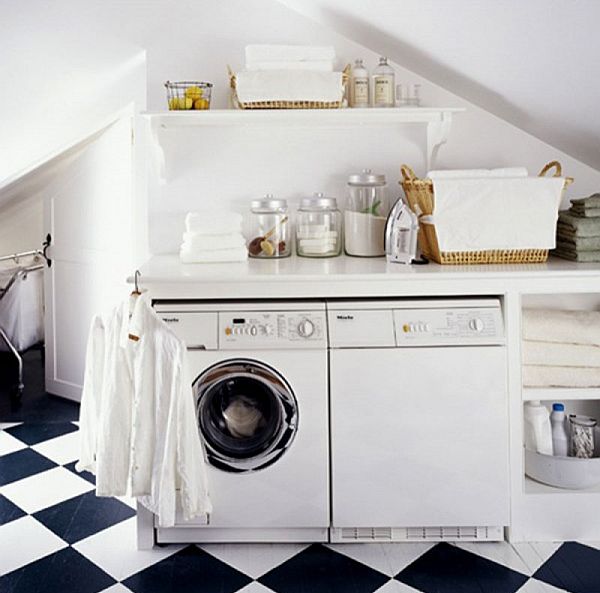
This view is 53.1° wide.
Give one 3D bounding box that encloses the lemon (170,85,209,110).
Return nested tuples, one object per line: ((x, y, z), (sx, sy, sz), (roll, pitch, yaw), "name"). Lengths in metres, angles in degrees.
((-0.430, -0.762, 2.338), (0.147, 0.071, 0.135), (-4, 12, -17), "lemon")

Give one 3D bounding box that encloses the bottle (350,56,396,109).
((0.290, -0.874, 2.435), (0.188, 0.218, 0.252), (1, 13, 7), "bottle")

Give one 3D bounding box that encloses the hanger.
((-0.520, 0.029, 1.884), (0.262, 0.196, 0.025), (13, 15, 31), "hanger")

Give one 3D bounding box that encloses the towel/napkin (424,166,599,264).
((0.713, -0.289, 2.170), (0.489, 0.356, 0.349), (-1, 2, -3), "towel/napkin")

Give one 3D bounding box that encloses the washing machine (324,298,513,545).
((0.411, 0.435, 2.377), (0.712, 1.090, 0.705), (0, 1, -1), "washing machine")

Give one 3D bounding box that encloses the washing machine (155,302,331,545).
((-0.176, 0.424, 2.260), (0.618, 0.791, 0.574), (-1, 2, -6), "washing machine")

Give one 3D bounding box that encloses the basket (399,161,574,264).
((0.727, -0.333, 2.334), (0.579, 0.367, 0.396), (0, 10, 3), "basket")
